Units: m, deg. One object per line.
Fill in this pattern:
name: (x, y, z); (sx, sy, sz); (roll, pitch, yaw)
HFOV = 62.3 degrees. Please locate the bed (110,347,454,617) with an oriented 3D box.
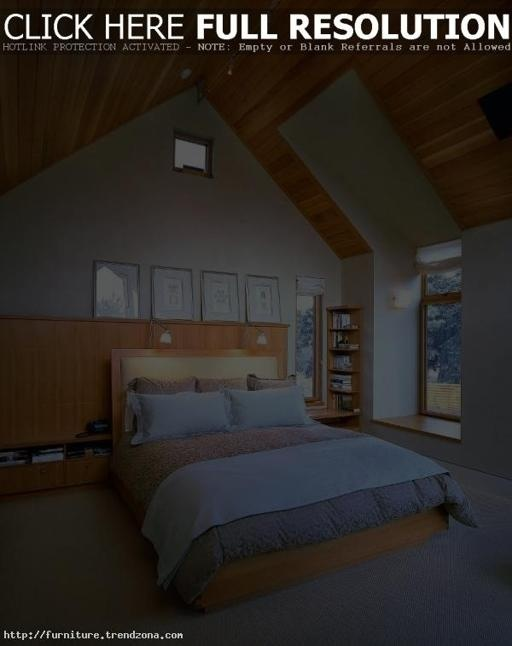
bed: (-0.036, 0.781, 3.269); (1.865, 1.175, 2.306); (1, -4, -27)

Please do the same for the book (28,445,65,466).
book: (-1.731, 1.091, 3.530); (0.245, 0.128, 0.130); (2, -4, -32)
